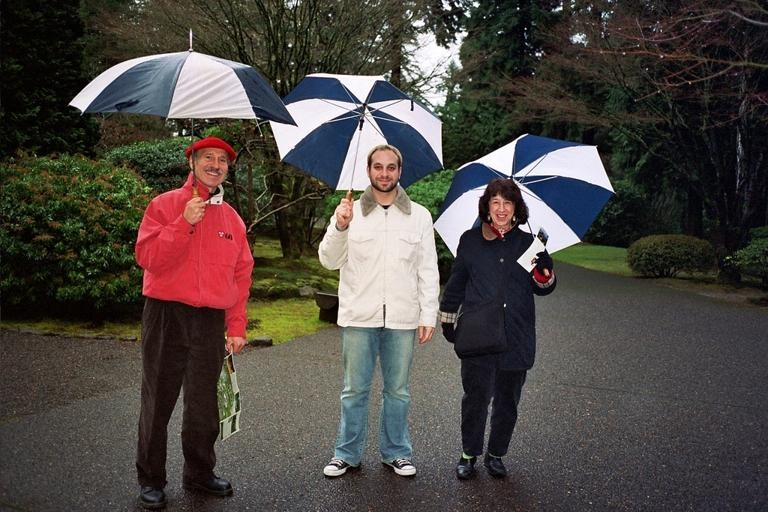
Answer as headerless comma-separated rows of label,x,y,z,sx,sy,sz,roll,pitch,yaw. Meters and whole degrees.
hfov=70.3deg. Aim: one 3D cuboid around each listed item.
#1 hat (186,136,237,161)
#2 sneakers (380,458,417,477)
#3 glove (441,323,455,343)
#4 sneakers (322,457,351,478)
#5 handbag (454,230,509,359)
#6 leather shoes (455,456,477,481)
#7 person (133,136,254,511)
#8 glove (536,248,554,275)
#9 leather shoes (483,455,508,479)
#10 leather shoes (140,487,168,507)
hat,-1.651,-1.008,5.120,0.414,0.211,0.364,-4,13,-32
sneakers,0.132,2.159,5.665,0.141,0.166,0.408,7,-12,-38
glove,0.670,0.802,5.749,0.191,0.200,0.174,1,-24,5
sneakers,-0.521,2.148,5.556,0.122,0.136,0.336,-4,-21,41
handbag,0.976,0.511,5.458,0.505,0.973,0.401,4,10,8
leather shoes,0.831,2.161,5.583,0.129,0.127,0.298,0,-8,15
person,-1.826,0.576,5.119,1.071,3.325,0.702,-3,11,-26
glove,1.628,0.057,5.528,0.161,0.225,0.188,6,11,19
leather shoes,1.163,2.168,5.641,0.125,0.131,0.299,-1,-9,-9
leather shoes,-2.153,2.194,5.013,0.227,0.160,0.189,-2,11,-24
